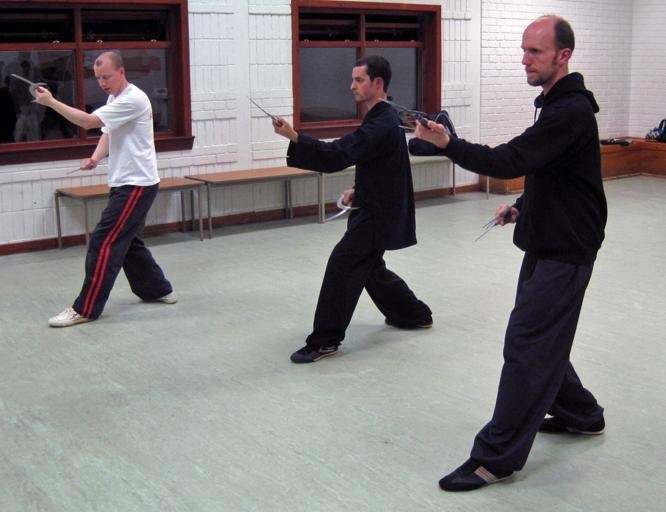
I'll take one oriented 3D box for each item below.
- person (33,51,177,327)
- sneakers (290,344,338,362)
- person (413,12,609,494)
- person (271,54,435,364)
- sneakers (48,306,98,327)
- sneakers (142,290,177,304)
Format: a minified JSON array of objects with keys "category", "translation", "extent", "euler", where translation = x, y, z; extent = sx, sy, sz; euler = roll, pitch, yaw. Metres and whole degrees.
[{"category":"person","translation":[-1.837,-0.562,4.055],"extent":[0.527,2.143,0.937],"euler":[6,15,28]},{"category":"sneakers","translation":[-0.120,0.647,3.365],"extent":[0.315,0.115,0.109],"euler":[-4,10,-24]},{"category":"person","translation":[0.766,0.024,1.965],"extent":[0.989,1.857,0.408],"euler":[-12,17,-40]},{"category":"person","translation":[0.162,-0.292,3.234],"extent":[0.598,1.984,1.424],"euler":[7,15,32]},{"category":"sneakers","translation":[-2.121,0.493,4.023],"extent":[0.366,0.144,0.132],"euler":[0,7,-26]},{"category":"sneakers","translation":[-1.577,0.388,4.520],"extent":[0.348,0.128,0.111],"euler":[2,12,-4]}]
